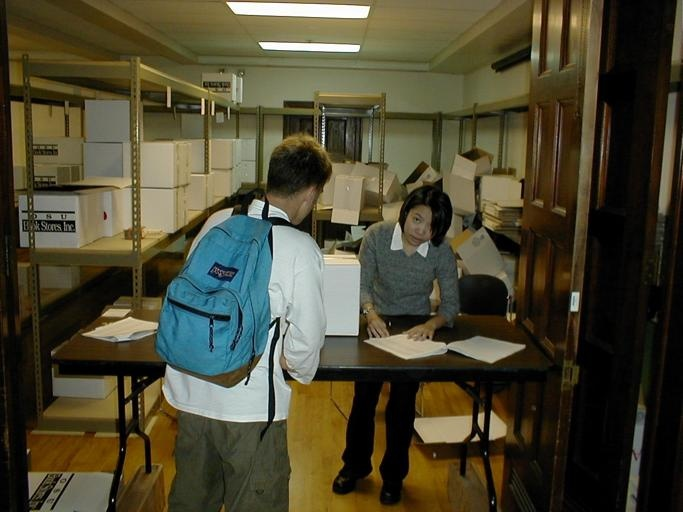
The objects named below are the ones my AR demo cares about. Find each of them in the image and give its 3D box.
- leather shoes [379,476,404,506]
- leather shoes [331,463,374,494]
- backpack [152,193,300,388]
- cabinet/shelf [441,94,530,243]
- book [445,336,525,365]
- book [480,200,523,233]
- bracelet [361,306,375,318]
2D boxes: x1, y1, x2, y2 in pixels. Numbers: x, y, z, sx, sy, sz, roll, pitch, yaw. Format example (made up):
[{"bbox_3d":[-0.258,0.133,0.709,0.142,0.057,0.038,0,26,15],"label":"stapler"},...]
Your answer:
[{"bbox_3d":[0.258,1.217,2.905,0.059,0.134,0.186,0,-7,12],"label":"leather shoes"},{"bbox_3d":[0.064,1.185,3.021,0.223,0.107,0.114,-14,18,-35],"label":"leather shoes"},{"bbox_3d":[-0.373,0.093,1.912,0.306,0.530,0.521,15,24,9],"label":"backpack"},{"bbox_3d":[1.617,-1.296,6.407,0.240,0.810,1.276,4,5,-30],"label":"cabinet/shelf"},{"bbox_3d":[0.644,0.407,2.458,0.139,0.033,0.153,-11,17,-40],"label":"book"},{"bbox_3d":[1.333,-0.323,4.636,0.260,0.102,0.273,-4,16,-16],"label":"book"},{"bbox_3d":[0.126,0.271,2.727,0.038,0.027,0.053,-9,4,-11],"label":"bracelet"}]
